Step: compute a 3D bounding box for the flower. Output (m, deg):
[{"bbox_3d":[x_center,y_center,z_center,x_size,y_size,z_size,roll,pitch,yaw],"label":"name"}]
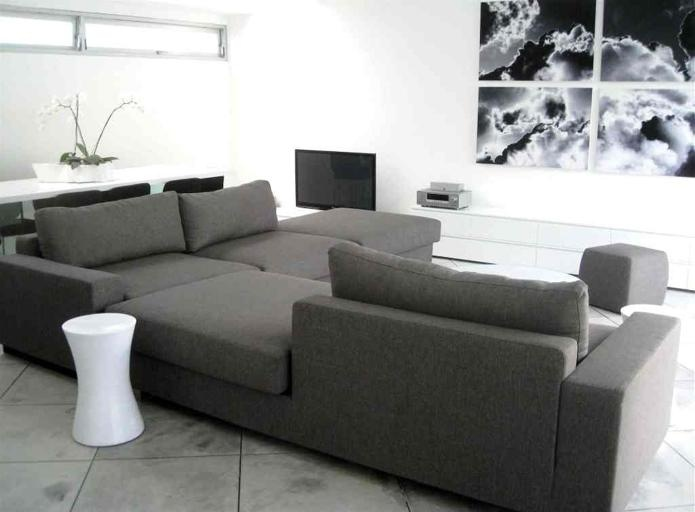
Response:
[{"bbox_3d":[-2.397,-1.183,5.213,0.863,0.641,0.573,0,8,-17],"label":"flower"}]
